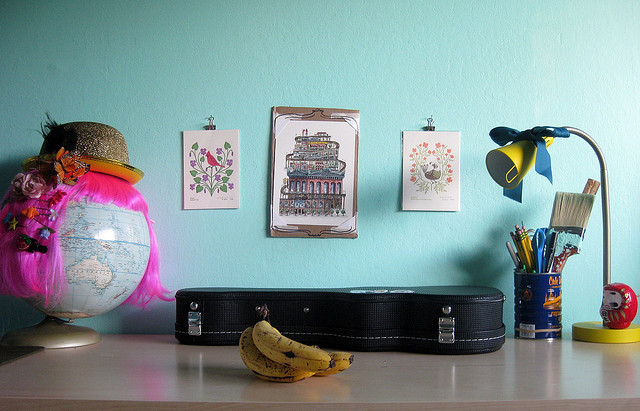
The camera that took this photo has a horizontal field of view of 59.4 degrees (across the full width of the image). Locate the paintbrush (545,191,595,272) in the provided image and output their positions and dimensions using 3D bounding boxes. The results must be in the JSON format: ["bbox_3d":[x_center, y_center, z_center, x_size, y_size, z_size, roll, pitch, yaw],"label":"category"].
[{"bbox_3d":[0.937,0.114,2.137,0.150,0.342,0.062,20,17,41],"label":"paintbrush"}]

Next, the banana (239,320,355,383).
[{"bbox_3d":[-0.084,0.429,1.710,0.255,0.100,0.195,-5,-15,44],"label":"banana"}]

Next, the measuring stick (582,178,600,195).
[{"bbox_3d":[1.052,-0.071,2.171,0.040,0.070,0.043,27,-16,6],"label":"measuring stick"}]

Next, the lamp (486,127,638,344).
[{"bbox_3d":[0.866,-0.071,2.196,0.339,1.146,0.572,1,-3,3],"label":"lamp"}]

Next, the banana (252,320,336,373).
[{"bbox_3d":[-0.088,0.448,1.701,0.260,0.145,0.079,4,12,21],"label":"banana"}]

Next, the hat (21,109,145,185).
[{"bbox_3d":[-0.850,-0.205,2.073,0.375,0.252,0.277,3,4,8],"label":"hat"}]

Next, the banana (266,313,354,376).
[{"bbox_3d":[-0.089,0.475,1.787,0.325,0.107,0.078,19,12,27],"label":"banana"}]

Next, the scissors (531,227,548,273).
[{"bbox_3d":[0.816,0.165,2.079,0.051,0.150,0.027,5,-6,-8],"label":"scissors"}]
